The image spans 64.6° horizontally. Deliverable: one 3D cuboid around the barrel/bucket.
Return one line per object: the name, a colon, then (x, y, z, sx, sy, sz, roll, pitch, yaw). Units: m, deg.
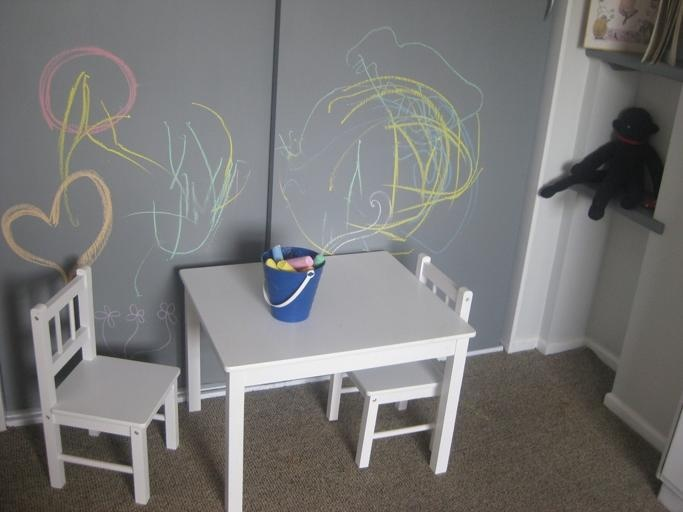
barrel/bucket: (-0.197, 0.140, 2.212, 0.255, 0.266, 0.297, 1, 24, -8)

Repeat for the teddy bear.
teddy bear: (1.348, -0.495, 2.728, 0.517, 0.504, 0.301, 10, 28, 31)

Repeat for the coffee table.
coffee table: (-0.114, 0.139, 2.402, 1.202, 1.000, 0.961, -6, 24, -17)

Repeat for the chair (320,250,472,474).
chair: (0.217, 0.484, 2.353, 0.476, 1.029, 0.582, -1, 24, -13)

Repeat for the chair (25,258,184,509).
chair: (-1.014, 0.543, 2.260, 0.450, 0.946, 0.553, 5, 27, 0)
